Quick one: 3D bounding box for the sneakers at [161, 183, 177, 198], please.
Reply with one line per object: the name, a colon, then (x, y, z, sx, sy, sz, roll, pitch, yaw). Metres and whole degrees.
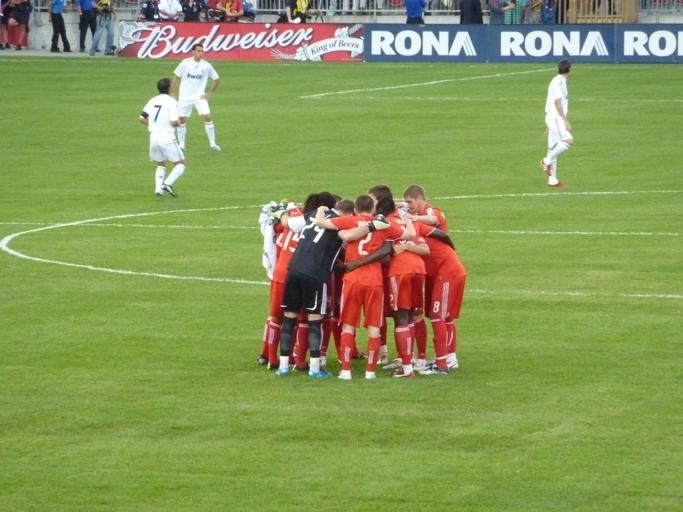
sneakers: (-3.692, -1.467, 38.092, 0.445, 0.158, 0.218, 38, 54, 21)

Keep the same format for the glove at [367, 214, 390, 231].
glove: (0.525, -0.553, 27.592, 0.278, 0.119, 0.216, -12, 32, 4)

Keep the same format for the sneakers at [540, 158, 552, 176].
sneakers: (4.385, -1.961, 38.517, 0.195, 0.430, 0.159, -12, 25, 18)

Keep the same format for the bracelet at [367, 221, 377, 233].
bracelet: (0.437, -0.495, 27.552, 0.129, 0.086, 0.124, 4, -4, -15)

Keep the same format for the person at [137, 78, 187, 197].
person: (-3.835, -2.545, 37.665, 0.841, 2.517, 0.890, -1, 5, 2)
